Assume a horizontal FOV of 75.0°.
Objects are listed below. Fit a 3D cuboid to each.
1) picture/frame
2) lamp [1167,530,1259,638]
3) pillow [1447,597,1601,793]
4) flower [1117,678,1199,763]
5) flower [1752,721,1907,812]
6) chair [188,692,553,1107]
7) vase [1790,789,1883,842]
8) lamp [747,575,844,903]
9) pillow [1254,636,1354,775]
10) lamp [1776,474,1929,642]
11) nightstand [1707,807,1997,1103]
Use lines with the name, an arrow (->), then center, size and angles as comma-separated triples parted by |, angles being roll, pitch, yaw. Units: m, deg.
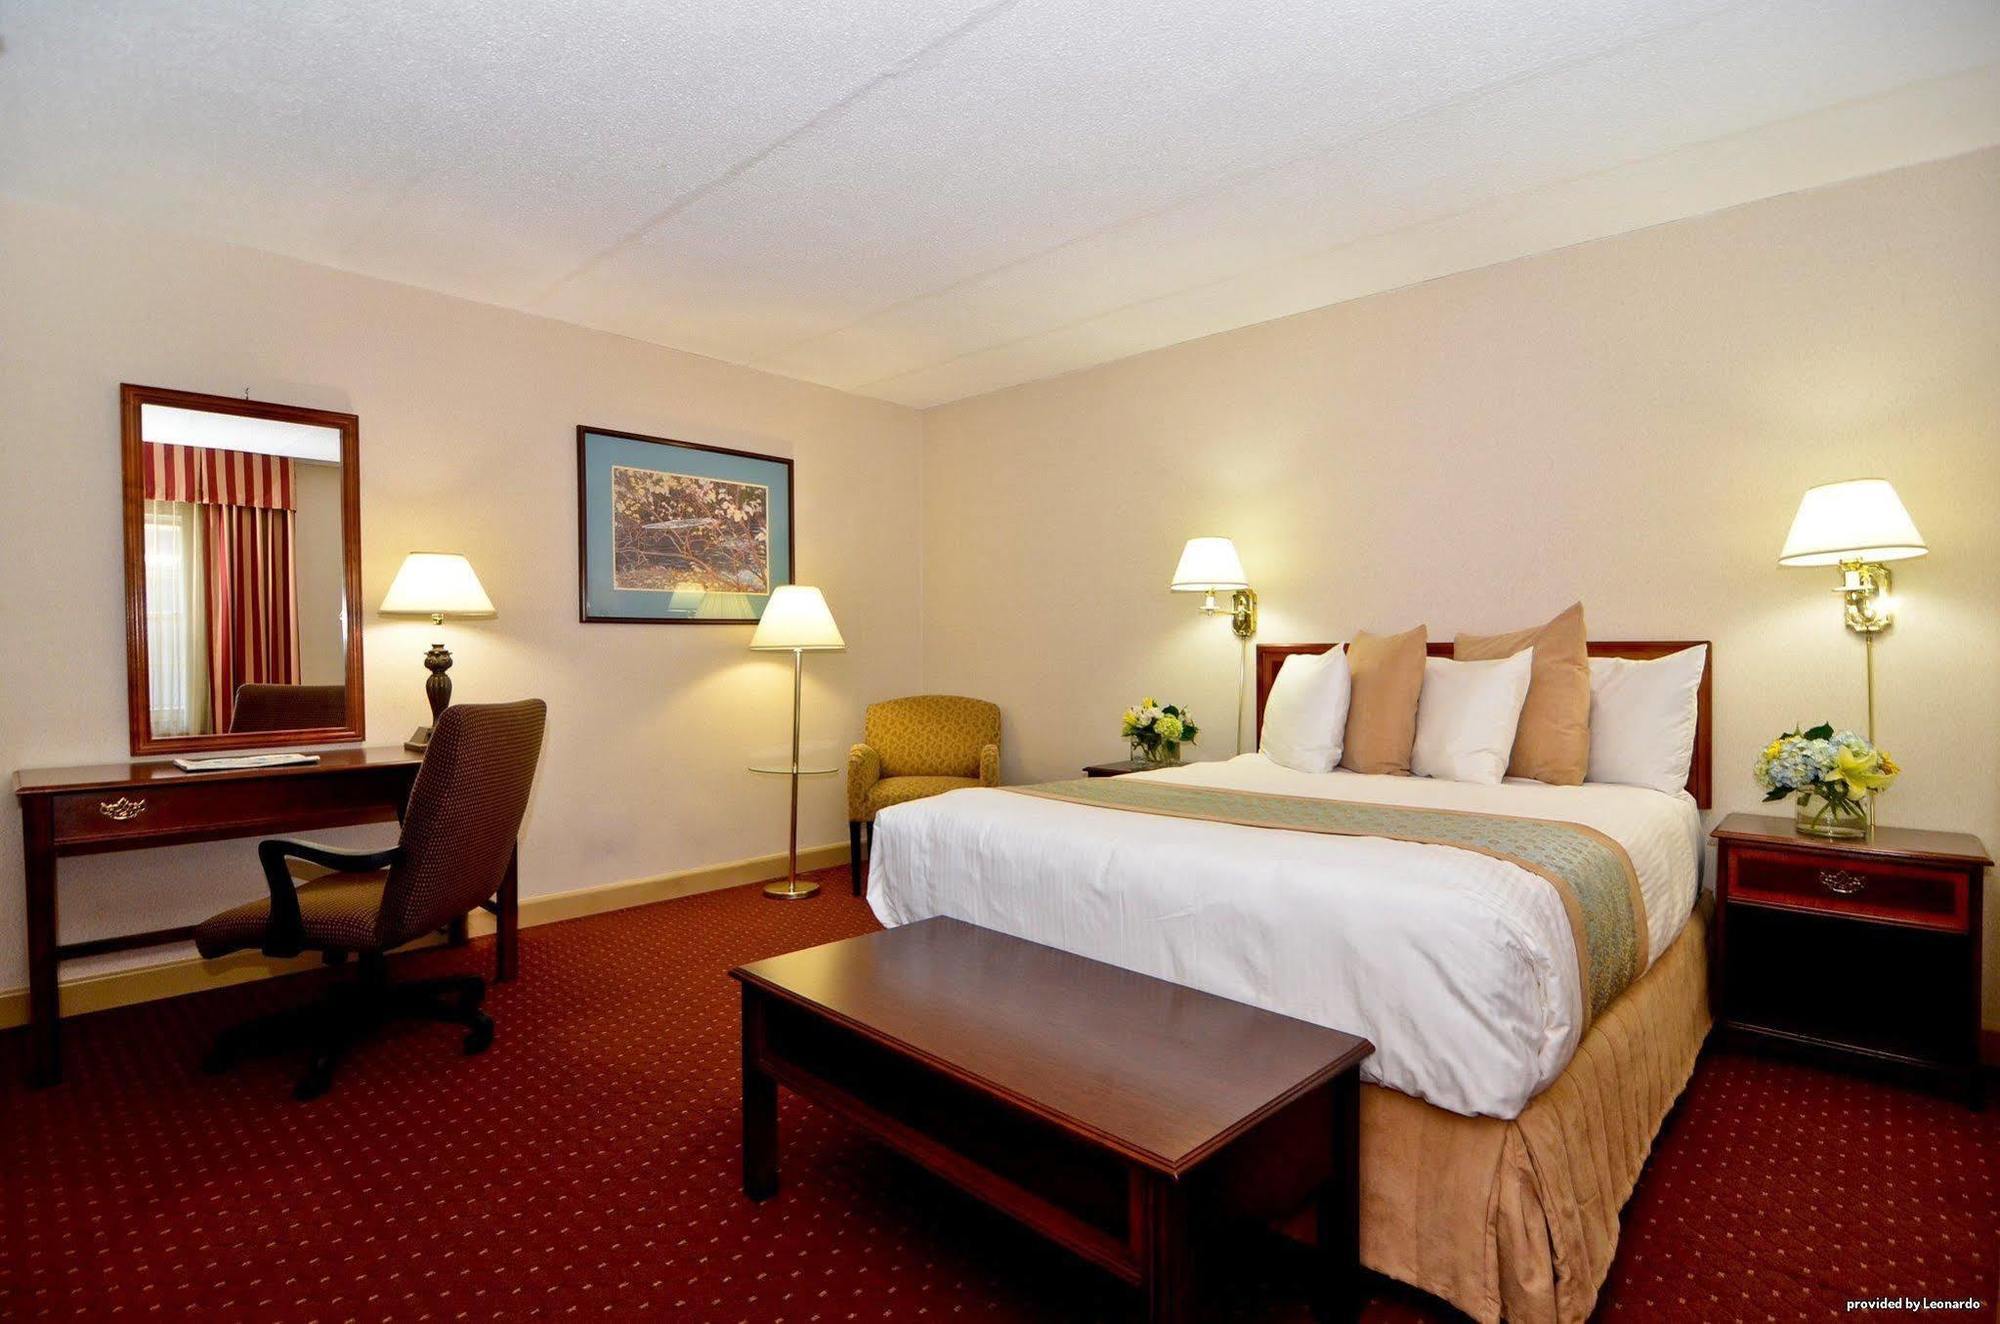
picture/frame -> -1.711, -0.704, 6.785 | 0.054, 0.911, 1.196 | -2, -2, 44
lamp -> 1.080, -0.382, 6.450 | 0.511, 0.582, 0.455 | 6, -8, -38
pillow -> 2.151, 0.154, 5.297 | 0.368, 0.665, 0.680 | 8, -10, -11
flower -> 0.816, 0.330, 6.519 | 0.323, 0.308, 0.318 | 4, -7, -29
flower -> 3.054, 0.397, 4.818 | 0.375, 0.274, 0.377 | -2, -17, 31
chair -> -2.501, 0.871, 5.531 | 1.412, 1.679, 1.508 | 1, -4, 4
vase -> 3.111, 0.521, 4.833 | 0.245, 0.234, 0.189 | 3, 0, 43
lamp -> -1.107, 0.398, 6.974 | 0.445, 1.642, 0.774 | 1, 4, -11
pillow -> 1.364, 0.196, 5.764 | 0.253, 0.465, 0.502 | 3, -17, -22
lamp -> 3.256, -0.401, 4.962 | 0.446, 0.623, 0.433 | 4, 4, 35
nightstand -> 3.133, 0.967, 5.102 | 1.155, 1.137, 0.875 | -3, -5, 33
